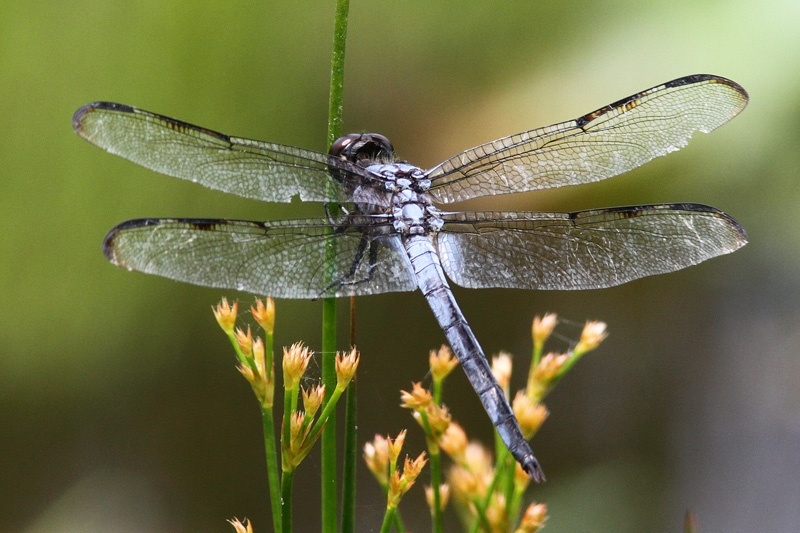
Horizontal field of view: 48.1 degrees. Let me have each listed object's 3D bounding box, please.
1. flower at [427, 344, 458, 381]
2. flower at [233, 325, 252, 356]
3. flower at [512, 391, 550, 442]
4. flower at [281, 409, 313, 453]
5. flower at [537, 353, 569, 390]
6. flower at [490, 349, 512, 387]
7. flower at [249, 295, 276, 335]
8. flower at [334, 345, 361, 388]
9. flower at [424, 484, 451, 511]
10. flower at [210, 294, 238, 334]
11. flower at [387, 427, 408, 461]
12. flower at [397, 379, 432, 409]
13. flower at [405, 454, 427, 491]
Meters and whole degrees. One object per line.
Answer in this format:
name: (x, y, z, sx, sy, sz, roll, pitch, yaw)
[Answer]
flower: (0.077, 0.176, 1.676, 0.051, 0.033, 0.061, 13, -114, -5)
flower: (-0.275, 0.125, 1.585, 0.058, 0.021, 0.025, 47, -43, 24)
flower: (0.231, 0.270, 1.615, 0.072, 0.029, 0.074, -36, -125, 36)
flower: (-0.179, 0.284, 1.548, 0.042, 0.036, 0.083, 29, -108, -23)
flower: (0.270, 0.184, 1.608, 0.039, 0.015, 0.065, 24, -100, 19)
flower: (0.196, 0.188, 1.711, 0.036, 0.029, 0.072, 4, -86, -1)
flower: (-0.246, 0.085, 1.615, 0.026, 0.043, 0.071, -23, -98, 56)
flower: (-0.094, 0.177, 1.618, 0.056, 0.053, 0.095, 0, -101, 0)
flower: (0.065, 0.424, 1.680, 0.044, 0.022, 0.060, -2, -101, 5)
flower: (-0.305, 0.088, 1.582, 0.042, 0.040, 0.063, -4, -80, 25)
flower: (-0.007, 0.324, 1.659, 0.033, 0.027, 0.102, 14, -39, 11)
flower: (0.022, 0.229, 1.617, 0.051, 0.023, 0.050, -2, -115, -6)
flower: (0.029, 0.352, 1.555, 0.025, 0.083, 0.033, 7, -72, 5)
